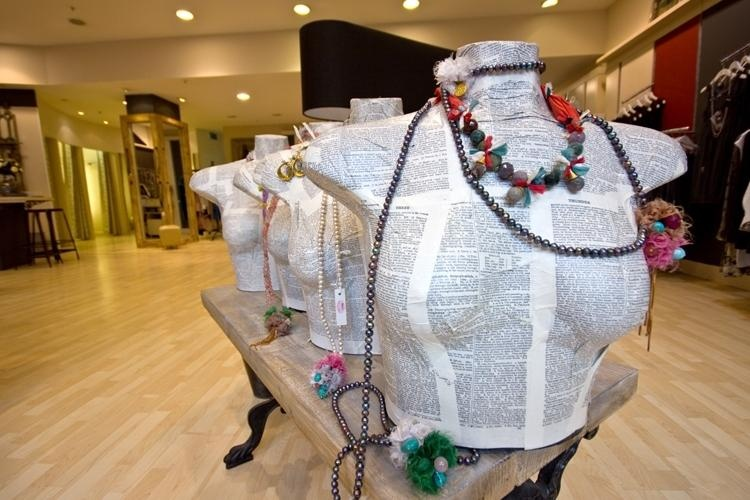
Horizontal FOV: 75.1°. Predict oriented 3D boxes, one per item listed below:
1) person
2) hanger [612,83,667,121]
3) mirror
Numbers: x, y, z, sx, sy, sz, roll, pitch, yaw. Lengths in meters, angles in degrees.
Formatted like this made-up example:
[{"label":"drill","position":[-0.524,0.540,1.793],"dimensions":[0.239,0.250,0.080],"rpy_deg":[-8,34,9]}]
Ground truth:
[{"label":"person","position":[0.485,-0.028,1.942],"dimensions":[1.362,1.568,0.448],"rpy_deg":[-4,13,-4]},{"label":"hanger","position":[2.820,-1.560,5.324],"dimensions":[0.180,0.198,0.569],"rpy_deg":[-2,10,-14]},{"label":"mirror","position":[-3.779,-1.291,8.912],"dimensions":[0.926,2.180,1.972],"rpy_deg":[-5,13,-8]}]
